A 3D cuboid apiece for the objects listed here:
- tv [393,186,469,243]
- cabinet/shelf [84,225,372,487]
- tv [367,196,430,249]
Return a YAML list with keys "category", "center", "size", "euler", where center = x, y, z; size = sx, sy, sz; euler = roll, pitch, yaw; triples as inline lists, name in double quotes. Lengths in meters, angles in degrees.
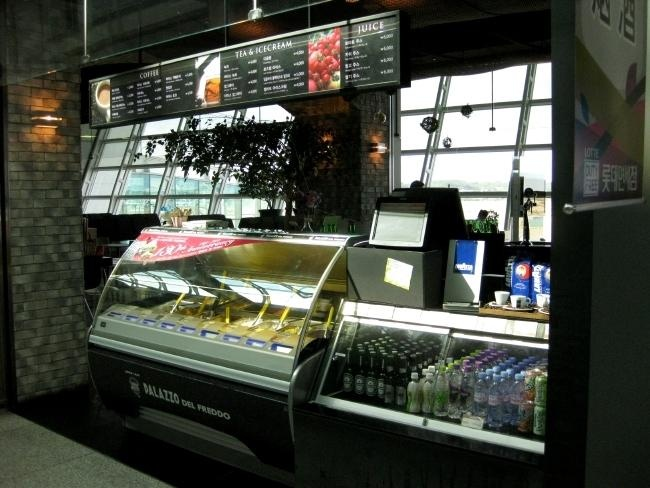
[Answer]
- category: "tv"
  center: [0.636, -0.186, 2.757]
  size: [0.610, 0.280, 0.403]
  euler: [5, 8, 38]
- category: "cabinet/shelf"
  center: [-0.434, 0.565, 3.693]
  size: [2.290, 1.504, 1.660]
  euler: [7, 20, 31]
- category: "tv"
  center: [0.407, -0.124, 2.703]
  size: [0.168, 0.272, 0.378]
  euler: [-7, 9, -42]
